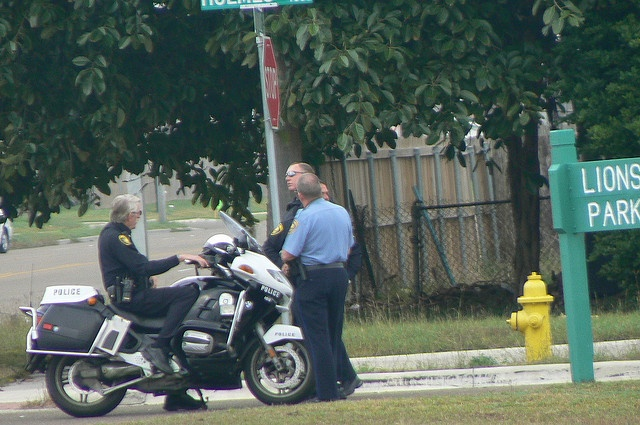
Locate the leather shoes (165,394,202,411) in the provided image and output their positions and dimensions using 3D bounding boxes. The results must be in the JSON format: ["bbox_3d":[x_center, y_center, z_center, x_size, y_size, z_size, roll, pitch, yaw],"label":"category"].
[{"bbox_3d":[-1.984,2.758,22.989,0.600,0.282,0.226,-2,2,0],"label":"leather shoes"}]

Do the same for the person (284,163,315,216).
[{"bbox_3d":[-0.315,-0.464,23.259,0.443,0.743,0.382,-8,3,-41],"label":"person"}]

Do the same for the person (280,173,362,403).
[{"bbox_3d":[-0.030,1.056,22.637,0.903,3.162,1.076,-2,12,5],"label":"person"}]

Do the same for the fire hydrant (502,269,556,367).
[{"bbox_3d":[3.145,1.545,23.489,0.631,1.263,0.621,-1,12,8],"label":"fire hydrant"}]

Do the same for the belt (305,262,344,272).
[{"bbox_3d":[0.056,0.750,22.655,0.559,0.095,0.098,-6,13,-10],"label":"belt"}]

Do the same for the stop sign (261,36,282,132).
[{"bbox_3d":[-0.707,-1.919,22.831,0.148,1.337,0.566,-1,12,7],"label":"stop sign"}]
